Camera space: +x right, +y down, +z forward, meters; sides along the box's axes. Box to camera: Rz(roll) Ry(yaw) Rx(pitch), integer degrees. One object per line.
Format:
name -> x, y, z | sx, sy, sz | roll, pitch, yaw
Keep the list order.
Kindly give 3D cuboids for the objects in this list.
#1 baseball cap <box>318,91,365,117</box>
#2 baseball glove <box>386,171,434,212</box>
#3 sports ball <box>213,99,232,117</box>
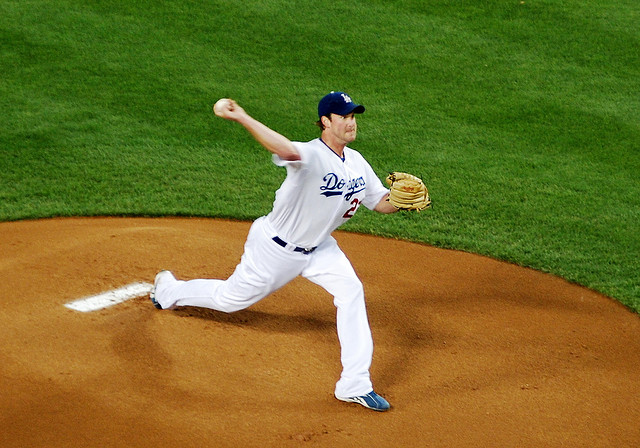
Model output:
baseball cap -> 0.253, -1.433, 11.916 | 0.433, 0.257, 0.291 | -11, 12, 18
baseball glove -> 1.163, -0.410, 12.773 | 0.466, 0.292, 0.629 | -8, 31, -46
sports ball -> -1.106, -1.336, 11.269 | 0.186, 0.143, 0.117 | -7, 43, -26
